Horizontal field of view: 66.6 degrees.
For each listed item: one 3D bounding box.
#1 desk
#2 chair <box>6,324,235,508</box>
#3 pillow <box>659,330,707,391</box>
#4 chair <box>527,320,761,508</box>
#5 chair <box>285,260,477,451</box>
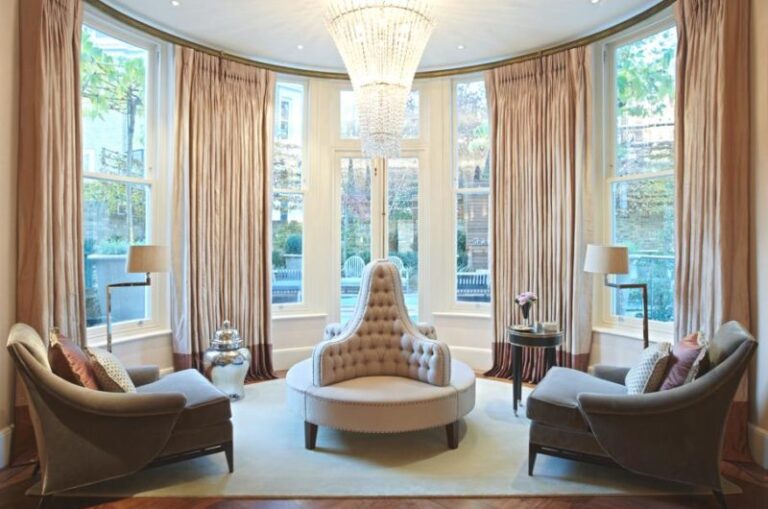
[{"bbox_3d":[1.387,1.143,6.035,0.505,0.778,0.504,6,8,-42],"label":"desk"},{"bbox_3d":[-2.238,1.260,5.147,1.672,1.418,1.293,-2,5,-27],"label":"chair"},{"bbox_3d":[2.449,0.845,4.746,0.129,0.431,0.432,23,-14,-4],"label":"pillow"},{"bbox_3d":[2.193,1.258,5.298,1.731,1.503,1.313,0,-3,17],"label":"chair"},{"bbox_3d":[-0.003,0.939,5.851,1.555,1.313,1.560,0,-3,1],"label":"chair"}]
